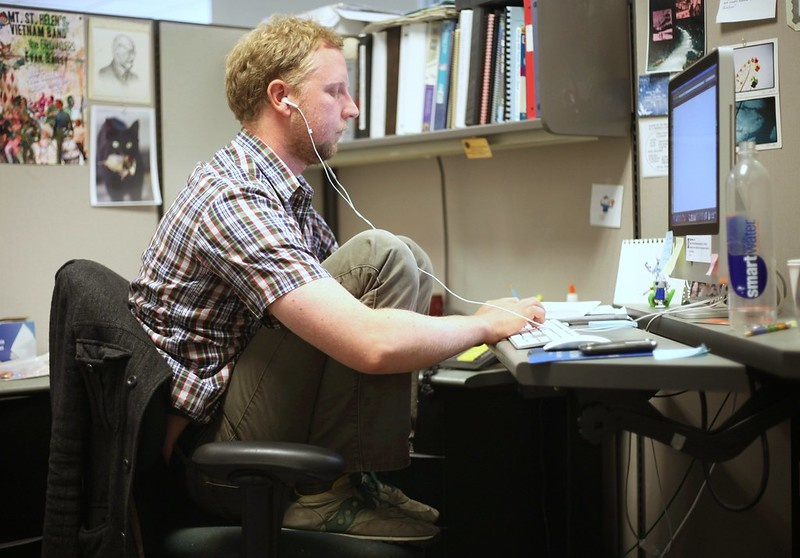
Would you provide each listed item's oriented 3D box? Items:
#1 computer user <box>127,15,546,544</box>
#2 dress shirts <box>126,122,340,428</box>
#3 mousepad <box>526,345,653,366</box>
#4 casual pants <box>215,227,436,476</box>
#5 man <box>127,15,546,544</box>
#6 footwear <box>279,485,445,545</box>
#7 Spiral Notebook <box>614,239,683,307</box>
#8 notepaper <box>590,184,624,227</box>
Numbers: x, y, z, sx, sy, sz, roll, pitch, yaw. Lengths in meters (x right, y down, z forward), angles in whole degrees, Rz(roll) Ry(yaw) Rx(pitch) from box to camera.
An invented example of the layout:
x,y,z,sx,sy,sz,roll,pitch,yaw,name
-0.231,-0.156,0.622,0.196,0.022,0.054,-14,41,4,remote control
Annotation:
x,y,z,sx,sy,sz,roll,pitch,yaw,name
-0.157,-0.010,1.721,0.956,1.262,0.888,2,3,12,computer user
-0.397,-0.017,1.676,0.504,0.802,0.750,3,-2,-20,dress shirts
0.345,0.151,1.255,0.148,0.019,0.085,-3,-1,-11,mousepad
-0.197,0.192,1.620,0.461,0.676,0.522,9,2,3,casual pants
-0.107,-0.006,1.703,1.034,1.281,0.872,0,3,-44,man
-0.085,0.498,1.439,0.346,0.154,0.135,2,-4,-4,footwear
0.691,-0.024,1.858,0.165,0.187,0.046,3,-7,37,Spiral Notebook
0.664,-0.233,2.037,0.125,0.178,0.016,2,-2,44,notepaper
